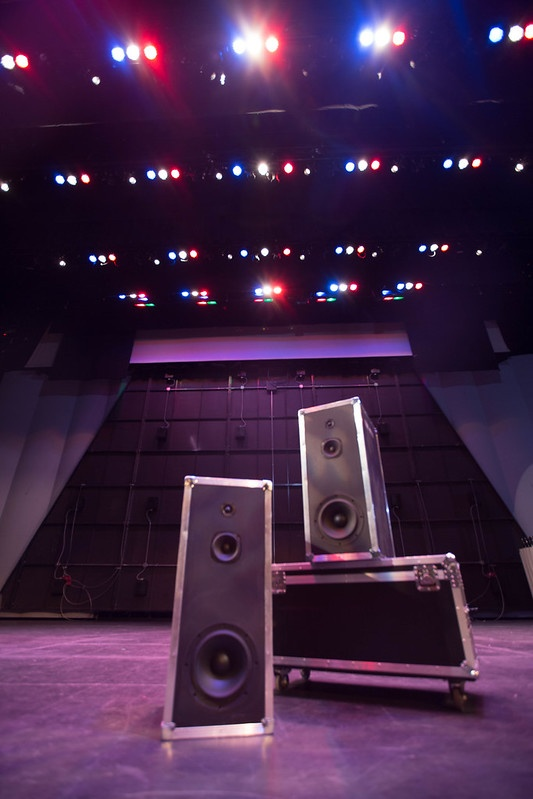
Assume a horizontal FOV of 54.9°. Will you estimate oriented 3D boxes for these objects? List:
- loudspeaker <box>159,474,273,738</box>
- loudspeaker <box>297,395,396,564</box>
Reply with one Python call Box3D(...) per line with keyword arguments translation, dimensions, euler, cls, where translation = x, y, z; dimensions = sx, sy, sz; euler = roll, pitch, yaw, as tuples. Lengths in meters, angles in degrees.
Box3D(translation=(-0.167, 0.759, 1.978), dimensions=(0.394, 0.920, 0.259), euler=(1, -12, -4), cls="loudspeaker")
Box3D(translation=(0.391, 0.413, 2.768), dimensions=(0.430, 0.873, 0.308), euler=(-2, -12, 9), cls="loudspeaker")
